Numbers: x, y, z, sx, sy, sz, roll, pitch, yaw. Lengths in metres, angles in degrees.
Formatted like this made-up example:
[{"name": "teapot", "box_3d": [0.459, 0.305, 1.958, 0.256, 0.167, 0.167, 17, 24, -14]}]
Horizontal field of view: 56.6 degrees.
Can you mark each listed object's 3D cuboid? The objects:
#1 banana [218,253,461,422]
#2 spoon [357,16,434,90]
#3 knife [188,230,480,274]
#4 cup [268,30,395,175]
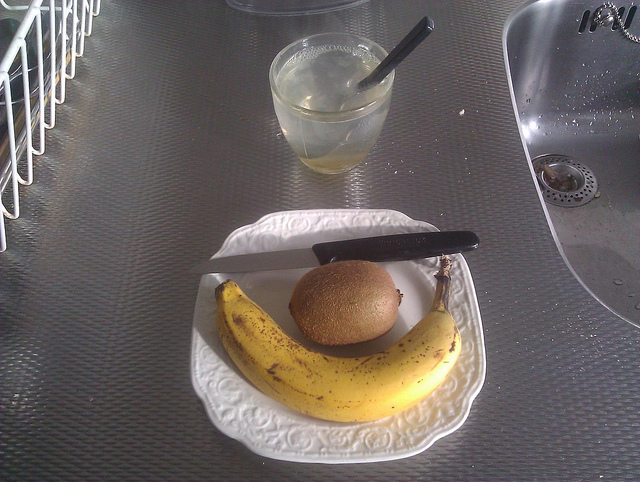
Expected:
[{"name": "banana", "box_3d": [0.016, 0.114, 0.709, 0.345, 0.093, 0.170, 3, 86, 39]}, {"name": "spoon", "box_3d": [0.091, -0.217, 0.688, 0.022, 0.138, 0.038, 17, 65, -16]}, {"name": "knife", "box_3d": [0.029, 0.015, 0.747, 0.317, 0.021, 0.039, -3, 49, 3]}, {"name": "cup", "box_3d": [0.008, -0.200, 0.824, 0.180, 0.138, 0.171, 0, 56, -1]}]
